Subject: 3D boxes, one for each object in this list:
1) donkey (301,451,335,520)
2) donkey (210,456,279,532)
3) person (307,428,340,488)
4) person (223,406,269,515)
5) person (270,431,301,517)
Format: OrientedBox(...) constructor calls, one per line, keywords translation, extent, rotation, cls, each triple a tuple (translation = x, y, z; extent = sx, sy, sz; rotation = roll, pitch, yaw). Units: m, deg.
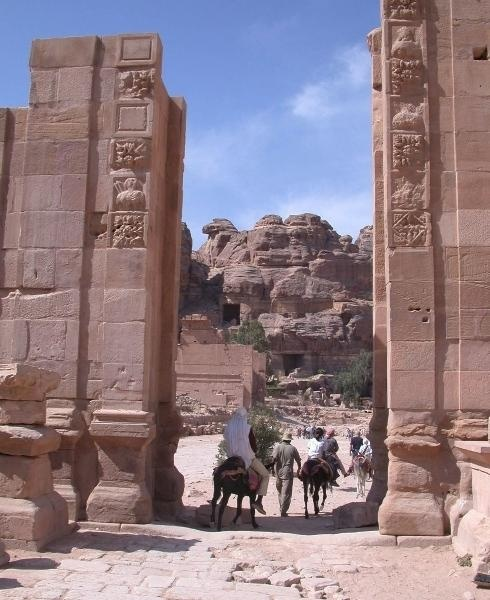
OrientedBox(translation=(1.097, 2.657, 11.519), extent=(0.376, 0.890, 1.290), rotation=(2, 1, 18), cls="donkey")
OrientedBox(translation=(-0.034, 2.418, 9.579), extent=(0.345, 0.884, 1.231), rotation=(-9, -20, 34), cls="donkey")
OrientedBox(translation=(1.250, 2.427, 12.226), extent=(0.532, 1.394, 0.544), rotation=(0, -1, 7), cls="person")
OrientedBox(translation=(0.007, 1.977, 9.743), extent=(0.562, 1.409, 0.413), rotation=(-7, -7, 2), cls="person")
OrientedBox(translation=(0.574, 2.650, 11.671), extent=(0.459, 1.216, 0.347), rotation=(-5, -6, 20), cls="person")
